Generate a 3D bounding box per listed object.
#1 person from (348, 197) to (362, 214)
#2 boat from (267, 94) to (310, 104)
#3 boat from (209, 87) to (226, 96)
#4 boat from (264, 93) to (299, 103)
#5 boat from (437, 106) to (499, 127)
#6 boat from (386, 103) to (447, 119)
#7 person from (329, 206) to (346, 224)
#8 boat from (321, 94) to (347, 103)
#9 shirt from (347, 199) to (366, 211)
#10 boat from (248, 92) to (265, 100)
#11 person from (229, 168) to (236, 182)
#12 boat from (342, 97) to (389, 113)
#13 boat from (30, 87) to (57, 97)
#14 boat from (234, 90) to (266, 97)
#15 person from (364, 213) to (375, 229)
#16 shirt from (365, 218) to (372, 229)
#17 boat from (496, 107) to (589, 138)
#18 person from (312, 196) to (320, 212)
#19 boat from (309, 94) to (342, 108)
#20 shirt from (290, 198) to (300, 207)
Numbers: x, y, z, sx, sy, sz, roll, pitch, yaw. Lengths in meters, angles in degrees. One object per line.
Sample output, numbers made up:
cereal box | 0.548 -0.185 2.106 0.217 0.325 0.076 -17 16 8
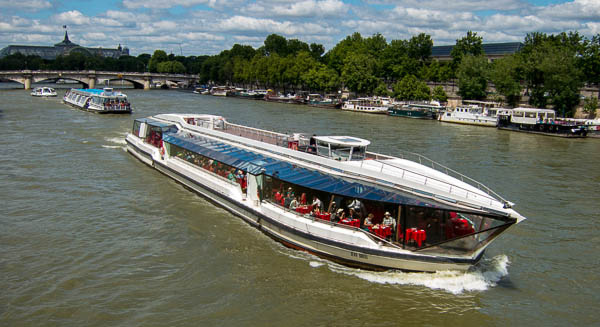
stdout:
person | 3.807 2.870 38.222 0.778 1.096 0.467 -20 0 29
boat | -2.631 -13.807 119.679 3.830 1.255 6.809 -3 8 -34
boat | -20.871 -18.586 144.939 1.874 2.086 8.788 -2 12 -34
boat | -4.149 -13.984 121.486 2.540 1.310 10.320 4 8 -27
boat | 25.833 -7.177 83.809 2.240 2.439 9.826 -6 14 -44
boat | 18.146 -8.794 92.515 3.959 1.550 7.331 -3 9 -41
person | 2.609 3.596 38.543 0.891 1.546 0.681 13 23 41
boat | 7.255 -13.549 113.842 2.140 1.490 6.962 -6 6 -44
shirt | 4.008 2.813 38.137 0.753 0.859 0.362 2 23 23
boat | -9.965 -15.639 129.127 3.311 1.529 4.242 9 11 30
person | -5.188 0.829 43.373 0.289 0.822 0.597 8 2 -32
boat | 11.345 -10.611 100.526 10.432 1.958 2.805 9 13 44
boat | -52.697 -14.767 114.988 3.892 1.700 5.851 -4 11 -37
boat | -11.640 -16.501 132.003 1.986 1.227 9.635 -11 15 -43
person | 4.667 3.868 37.555 0.730 0.877 0.419 27 -24 -26
shirt | 4.592 4.059 37.497 0.766 0.651 0.181 6 -6 -20
boat | 32.534 -5.376 75.185 5.362 2.015 7.470 -1 7 -34
person | 1.152 2.921 39.101 0.560 1.096 0.667 6 10 10
boat | 5.123 -12.397 110.913 5.826 2.033 11.071 3 9 0
shirt | -0.301 2.814 39.636 0.480 0.552 0.758 9 11 30
